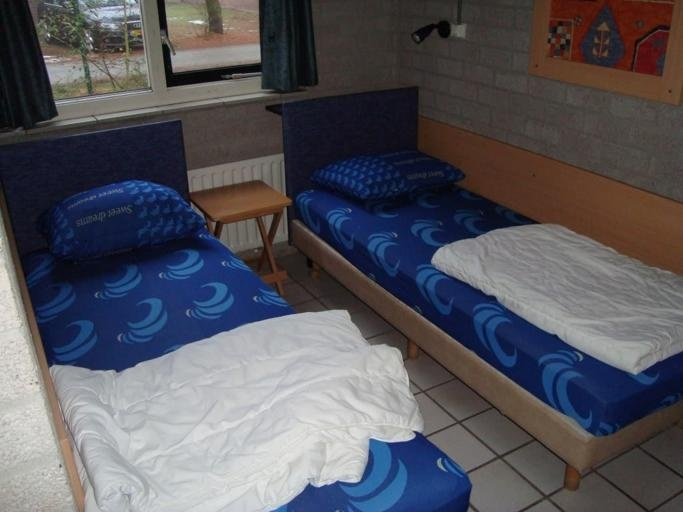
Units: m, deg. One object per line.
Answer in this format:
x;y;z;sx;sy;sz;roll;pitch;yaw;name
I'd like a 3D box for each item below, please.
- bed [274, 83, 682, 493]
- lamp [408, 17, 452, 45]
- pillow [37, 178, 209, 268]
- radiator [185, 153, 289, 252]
0.767;-0.052;3.447;1.528;1.607;3.052;-18;37;-24;bed
0.652;-1.625;3.698;0.265;0.127;0.293;2;28;9;lamp
-1.274;-0.230;2.981;0.685;0.215;0.482;-14;34;-27;pillow
-0.759;-0.401;3.595;0.723;0.702;0.069;-14;32;-20;radiator
